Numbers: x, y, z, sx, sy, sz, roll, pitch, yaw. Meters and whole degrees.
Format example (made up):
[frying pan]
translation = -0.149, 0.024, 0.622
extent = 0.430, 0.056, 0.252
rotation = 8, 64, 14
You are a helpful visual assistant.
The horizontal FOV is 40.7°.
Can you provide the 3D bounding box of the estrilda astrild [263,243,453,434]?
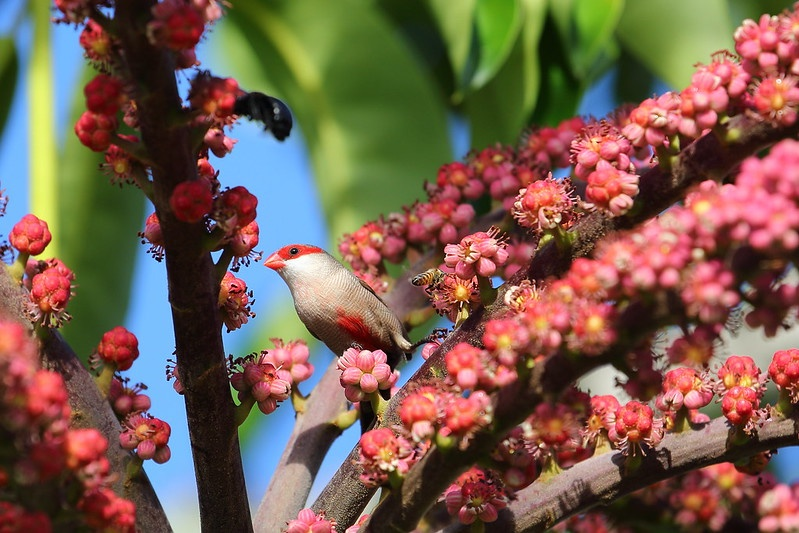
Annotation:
[estrilda astrild]
translation = -0.158, 0.223, 4.347
extent = 0.605, 0.655, 0.288
rotation = 0, -27, -31
